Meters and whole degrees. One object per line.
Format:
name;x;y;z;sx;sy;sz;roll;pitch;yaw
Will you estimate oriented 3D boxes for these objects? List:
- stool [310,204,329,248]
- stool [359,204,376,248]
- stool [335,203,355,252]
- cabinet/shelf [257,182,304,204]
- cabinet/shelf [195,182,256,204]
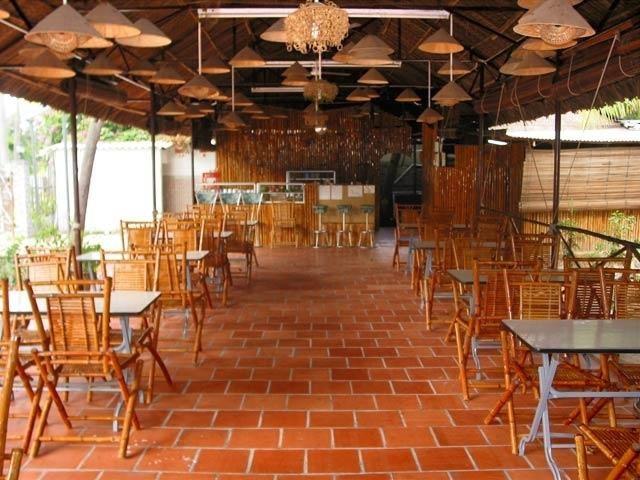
stool;0.010;-0.366;13.481;0.378;1.106;0.408;-1;10;-2
stool;1.192;-0.372;13.394;0.399;1.089;0.420;0;10;1
stool;0.652;-0.366;13.407;0.458;1.095;0.349;0;11;1
cabinet/shelf;-1.145;-1.281;14.056;1.171;0.538;1.388;-2;8;-15
cabinet/shelf;-2.643;-1.358;14.735;1.710;0.532;2.803;-2;8;-13
